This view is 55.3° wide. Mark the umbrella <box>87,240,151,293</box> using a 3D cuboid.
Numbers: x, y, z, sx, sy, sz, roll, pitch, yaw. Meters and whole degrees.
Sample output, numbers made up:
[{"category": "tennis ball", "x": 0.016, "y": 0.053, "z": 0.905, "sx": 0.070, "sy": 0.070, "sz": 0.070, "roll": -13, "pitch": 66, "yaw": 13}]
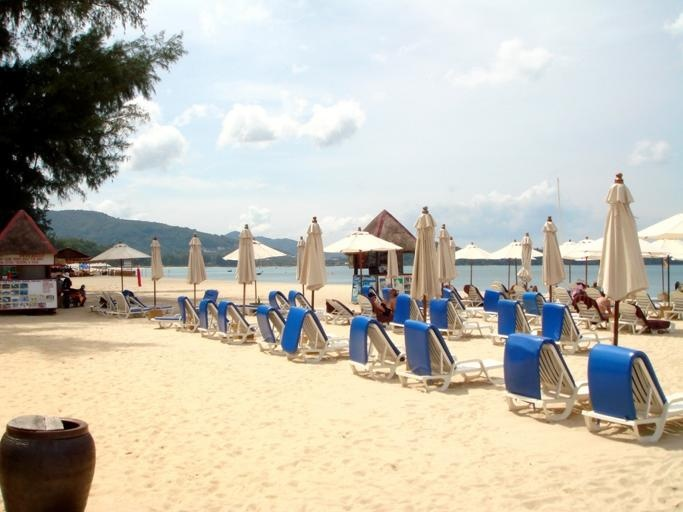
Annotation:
[{"category": "umbrella", "x": -7.828, "y": 0.330, "z": 23.255, "sx": 1.797, "sy": 1.780, "sz": 1.830, "roll": -3, "pitch": 2, "yaw": -15}]

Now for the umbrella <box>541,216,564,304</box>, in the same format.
[{"category": "umbrella", "x": 5.038, "y": 0.150, "z": 15.559, "sx": 0.611, "sy": 2.274, "sz": 0.532, "roll": -24, "pitch": 28, "yaw": -32}]

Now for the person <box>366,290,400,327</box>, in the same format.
[{"category": "person", "x": 0.939, "y": 1.160, "z": 14.902, "sx": 0.763, "sy": 0.958, "sz": 0.694, "roll": -1, "pitch": 13, "yaw": -7}]

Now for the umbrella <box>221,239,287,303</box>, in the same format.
[{"category": "umbrella", "x": -2.869, "y": 0.316, "z": 21.314, "sx": 1.553, "sy": 1.660, "sz": 1.873, "roll": 0, "pitch": 7, "yaw": -3}]

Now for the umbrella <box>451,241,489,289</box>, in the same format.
[{"category": "umbrella", "x": 4.693, "y": 0.304, "z": 23.553, "sx": 1.299, "sy": 1.634, "sz": 1.268, "roll": -16, "pitch": 19, "yaw": -41}]

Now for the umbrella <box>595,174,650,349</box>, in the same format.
[{"category": "umbrella", "x": 4.059, "y": 0.270, "z": 9.462, "sx": 0.762, "sy": 2.904, "sz": 0.770, "roll": -5, "pitch": 9, "yaw": -9}]
